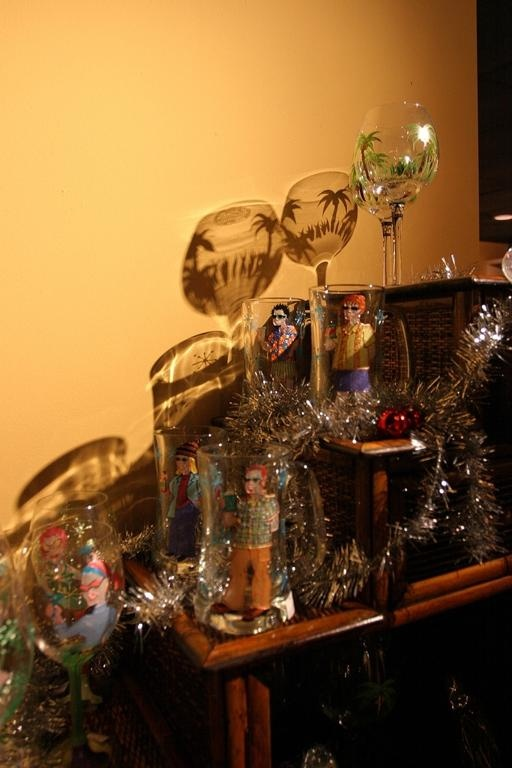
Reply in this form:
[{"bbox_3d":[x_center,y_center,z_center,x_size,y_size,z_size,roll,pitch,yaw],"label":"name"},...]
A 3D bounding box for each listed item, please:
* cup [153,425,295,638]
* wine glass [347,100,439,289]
[{"bbox_3d":[-0.026,0.125,0.577,0.151,0.233,0.148,0,-1,0],"label":"cup"},{"bbox_3d":[0.173,-0.298,0.797,0.117,0.123,0.079,-2,12,30],"label":"wine glass"}]
